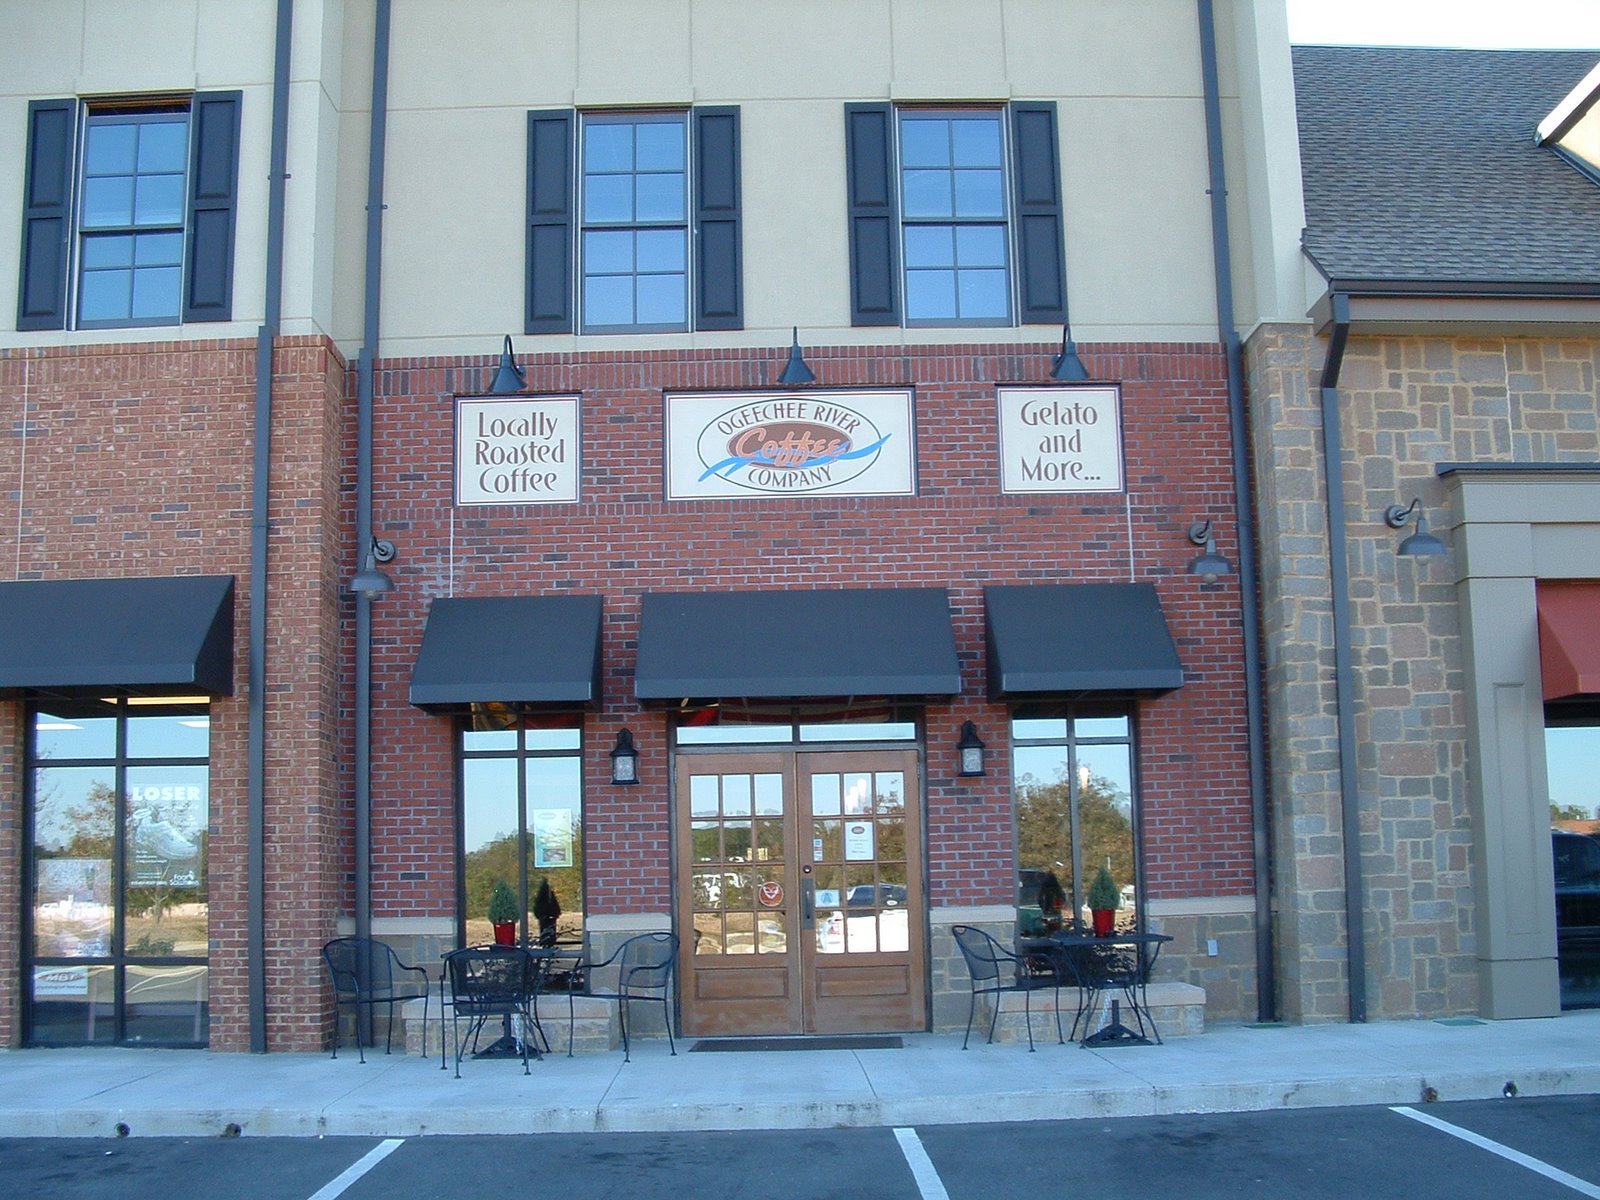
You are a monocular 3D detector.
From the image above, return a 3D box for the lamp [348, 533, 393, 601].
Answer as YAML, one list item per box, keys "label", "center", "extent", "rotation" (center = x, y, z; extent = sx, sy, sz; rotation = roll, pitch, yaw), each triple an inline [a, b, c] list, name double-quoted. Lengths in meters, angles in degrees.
- label: "lamp"
  center: [-4.289, -0.353, 21.397]
  extent: [0.437, 0.646, 0.785]
  rotation: [0, -10, -12]

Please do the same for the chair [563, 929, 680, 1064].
- label: "chair"
  center: [-2.090, 3.919, 21.176]
  extent: [1.092, 1.535, 1.139]
  rotation: [-9, -18, 31]

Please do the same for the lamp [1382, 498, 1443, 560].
- label: "lamp"
  center: [6.080, -0.679, 21.091]
  extent: [0.438, 0.510, 0.726]
  rotation: [1, -4, 1]

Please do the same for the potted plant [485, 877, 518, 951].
- label: "potted plant"
  center: [-2.871, 3.081, 20.596]
  extent: [0.245, 0.611, 0.338]
  rotation: [-1, -11, -5]

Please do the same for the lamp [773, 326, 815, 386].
- label: "lamp"
  center: [-0.030, -2.499, 21.635]
  extent: [0.335, 0.761, 0.763]
  rotation: [-2, -10, 0]

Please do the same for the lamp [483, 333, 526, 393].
- label: "lamp"
  center: [-3.017, -2.407, 21.759]
  extent: [0.370, 0.705, 0.632]
  rotation: [-1, -10, -7]

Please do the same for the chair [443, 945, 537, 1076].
- label: "chair"
  center: [-3.005, 3.959, 20.363]
  extent: [1.238, 1.406, 1.030]
  rotation: [0, -7, -4]

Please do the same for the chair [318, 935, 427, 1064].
- label: "chair"
  center: [-4.150, 4.025, 21.342]
  extent: [1.087, 1.411, 1.187]
  rotation: [-17, -20, 40]

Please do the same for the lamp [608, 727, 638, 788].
- label: "lamp"
  center: [-1.776, 1.602, 21.446]
  extent: [0.301, 0.601, 0.246]
  rotation: [-2, -11, -2]

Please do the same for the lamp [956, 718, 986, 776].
- label: "lamp"
  center: [1.727, 1.517, 21.493]
  extent: [0.303, 0.593, 0.265]
  rotation: [-3, -11, 5]

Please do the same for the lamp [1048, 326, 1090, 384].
- label: "lamp"
  center: [2.746, -2.535, 21.776]
  extent: [0.380, 0.695, 0.684]
  rotation: [-4, -11, 9]

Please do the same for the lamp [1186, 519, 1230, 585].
- label: "lamp"
  center: [4.134, -0.518, 21.520]
  extent: [0.436, 0.660, 0.804]
  rotation: [-4, -10, 10]

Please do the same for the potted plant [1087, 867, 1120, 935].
- label: "potted plant"
  center: [2.933, 2.982, 20.603]
  extent: [0.276, 0.626, 0.261]
  rotation: [-3, -11, 3]
